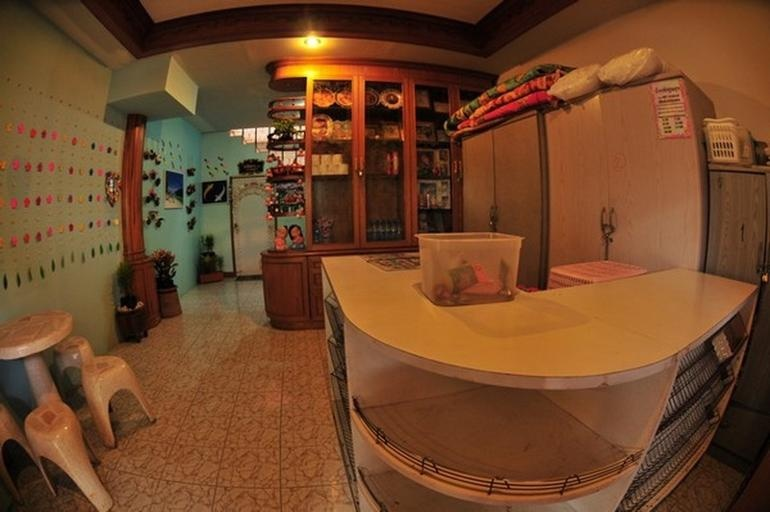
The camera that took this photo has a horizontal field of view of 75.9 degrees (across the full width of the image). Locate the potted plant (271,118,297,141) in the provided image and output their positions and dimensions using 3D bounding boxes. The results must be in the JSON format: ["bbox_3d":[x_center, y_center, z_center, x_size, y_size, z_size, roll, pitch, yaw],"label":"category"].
[{"bbox_3d":[-1.123,-1.388,5.432,0.274,0.272,0.224,-4,13,-13],"label":"potted plant"}]

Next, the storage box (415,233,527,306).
[{"bbox_3d":[0.483,0.053,2.827,0.505,0.322,0.389,0,3,-6],"label":"storage box"}]

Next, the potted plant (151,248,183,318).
[{"bbox_3d":[-2.560,0.318,5.782,0.288,0.773,0.508,-3,6,-23],"label":"potted plant"}]

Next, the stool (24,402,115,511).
[{"bbox_3d":[-2.131,1.352,3.317,0.584,0.667,0.216,1,6,23],"label":"stool"}]

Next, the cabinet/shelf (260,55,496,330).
[{"bbox_3d":[-0.021,-0.687,4.583,2.632,2.646,0.700,-1,4,-7],"label":"cabinet/shelf"}]

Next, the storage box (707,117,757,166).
[{"bbox_3d":[2.069,-0.694,2.977,0.222,0.307,0.297,7,12,44],"label":"storage box"}]

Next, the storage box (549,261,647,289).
[{"bbox_3d":[1.302,0.121,3.046,0.503,0.147,0.335,-3,6,-19],"label":"storage box"}]

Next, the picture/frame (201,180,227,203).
[{"bbox_3d":[-2.857,-1.080,8.145,0.376,0.344,0.052,-1,11,-15],"label":"picture/frame"}]

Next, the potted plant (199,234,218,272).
[{"bbox_3d":[-2.912,-0.052,8.057,0.264,0.584,0.366,-3,5,-19],"label":"potted plant"}]

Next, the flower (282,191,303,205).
[{"bbox_3d":[-1.022,-0.642,5.493,0.130,0.087,0.171,-2,-2,-29],"label":"flower"}]

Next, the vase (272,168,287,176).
[{"bbox_3d":[-1.151,-0.924,5.369,0.097,0.047,0.141,-5,4,-34],"label":"vase"}]
